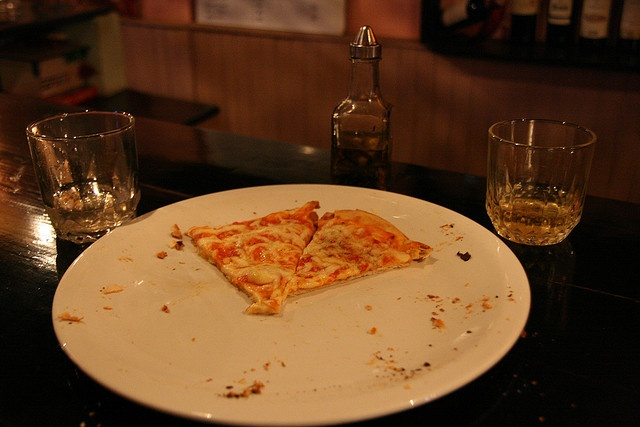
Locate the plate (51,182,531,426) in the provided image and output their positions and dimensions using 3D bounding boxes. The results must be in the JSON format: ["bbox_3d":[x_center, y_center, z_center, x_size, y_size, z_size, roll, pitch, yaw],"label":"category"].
[{"bbox_3d":[-0.040,0.119,0.971,0.803,0.072,0.611,4,32,8],"label":"plate"}]
